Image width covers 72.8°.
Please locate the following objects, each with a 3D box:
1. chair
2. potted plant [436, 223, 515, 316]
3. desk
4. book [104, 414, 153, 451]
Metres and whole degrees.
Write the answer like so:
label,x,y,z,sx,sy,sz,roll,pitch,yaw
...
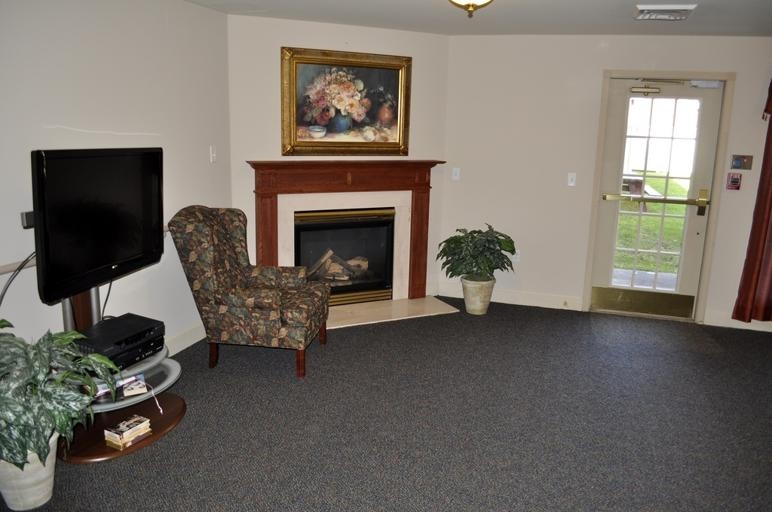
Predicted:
label,x,y,z,sx,sy,sz,roll,pitch,yaw
chair,-1.163,0.256,4.640,1.245,1.240,1.026,1,12,-4
potted plant,1.041,0.196,5.877,0.867,0.858,0.900,2,-2,-23
desk,-1.800,1.065,3.590,0.684,0.224,0.688,-14,21,-34
book,-1.739,1.169,3.496,0.171,0.109,0.228,8,13,19
